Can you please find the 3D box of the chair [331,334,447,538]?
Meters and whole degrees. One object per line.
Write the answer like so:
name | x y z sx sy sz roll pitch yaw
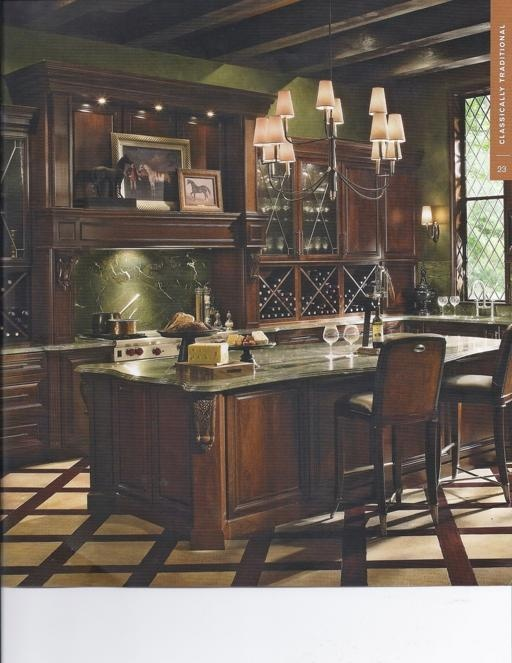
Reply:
chair | 0.541 0.344 2.425 0.452 0.712 0.382 -7 8 -32

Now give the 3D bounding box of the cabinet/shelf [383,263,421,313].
cabinet/shelf | 1.009 -0.309 4.570 0.213 0.346 0.226 -1 7 12

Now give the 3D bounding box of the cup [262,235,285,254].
cup | 0.118 -0.555 4.222 0.133 0.092 0.098 1 5 12

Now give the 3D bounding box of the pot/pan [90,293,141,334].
pot/pan | -0.763 -0.061 3.613 0.150 0.178 0.262 1 -1 -28

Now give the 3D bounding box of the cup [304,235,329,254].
cup | 0.401 -0.572 4.363 0.131 0.090 0.135 1 8 0

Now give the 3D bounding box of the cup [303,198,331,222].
cup | 0.387 -0.788 4.280 0.140 0.080 0.141 -1 11 0

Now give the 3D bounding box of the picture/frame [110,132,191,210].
picture/frame | -0.606 -0.887 3.686 0.037 0.380 0.534 1 4 44

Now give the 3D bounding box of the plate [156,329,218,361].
plate | -0.245 0.039 2.259 0.141 0.082 0.143 0 2 32

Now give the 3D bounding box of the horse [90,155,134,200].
horse | -0.785 -0.817 3.526 0.331 0.255 0.082 -6 -6 29

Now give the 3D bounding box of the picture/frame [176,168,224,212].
picture/frame | -0.347 -0.839 3.938 0.025 0.235 0.318 0 5 39
